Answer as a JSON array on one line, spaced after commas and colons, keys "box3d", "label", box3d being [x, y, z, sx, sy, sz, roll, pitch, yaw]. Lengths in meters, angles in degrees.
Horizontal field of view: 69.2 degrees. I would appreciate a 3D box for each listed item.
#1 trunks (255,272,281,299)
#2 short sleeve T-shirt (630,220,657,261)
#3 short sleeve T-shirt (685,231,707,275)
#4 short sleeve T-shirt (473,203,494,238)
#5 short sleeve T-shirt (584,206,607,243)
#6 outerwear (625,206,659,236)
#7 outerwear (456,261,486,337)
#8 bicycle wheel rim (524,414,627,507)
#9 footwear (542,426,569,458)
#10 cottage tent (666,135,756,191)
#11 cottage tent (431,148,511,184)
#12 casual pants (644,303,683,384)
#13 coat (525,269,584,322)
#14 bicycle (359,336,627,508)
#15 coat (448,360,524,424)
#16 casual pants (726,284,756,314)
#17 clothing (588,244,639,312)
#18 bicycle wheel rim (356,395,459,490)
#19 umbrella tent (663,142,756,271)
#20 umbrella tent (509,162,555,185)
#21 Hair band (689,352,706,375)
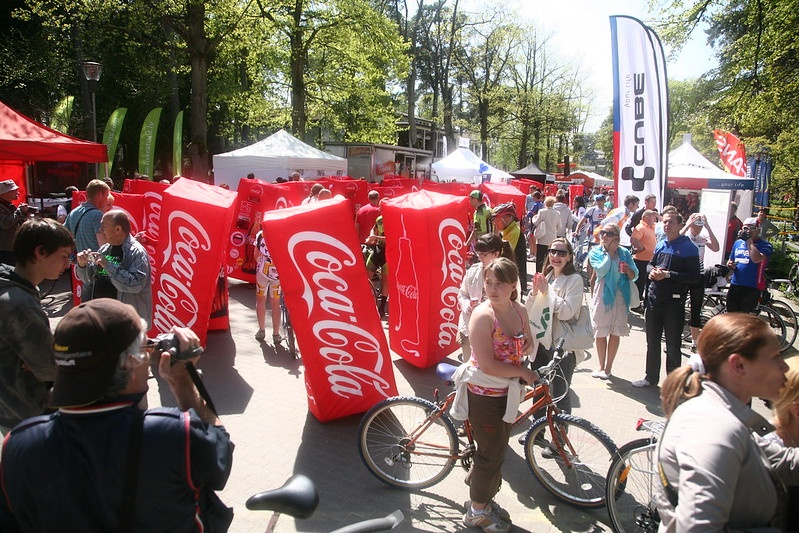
[{"box3d": [-2.023, 0.287, 9.051, 0.376, 0.582, 0.214, 5, 0, -18], "label": "trunks"}, {"box3d": [4.273, -0.432, 10.148, 0.304, 0.559, 0.558, 11, 31, 31], "label": "short sleeve T-shirt"}, {"box3d": [4.622, -0.227, 9.079, 0.381, 0.790, 0.767, 1, 6, 33], "label": "short sleeve T-shirt"}, {"box3d": [1.821, -0.923, 12.644, 0.264, 0.496, 0.498, -2, -3, -24], "label": "short sleeve T-shirt"}, {"box3d": [5.405, -1.191, 16.051, 0.776, 1.060, 0.376, -10, 21, -23], "label": "short sleeve T-shirt"}, {"box3d": [4.585, -0.922, 11.228, 0.427, 0.588, 0.208, 19, 13, -17], "label": "outerwear"}, {"box3d": [0.933, 0.228, 7.403, 0.260, 0.742, 0.256, 21, 51, 31], "label": "outerwear"}, {"box3d": [1.777, 2.001, 5.966, 1.100, 0.178, 1.158, 13, 31, -14], "label": "bicycle wheel rim"}, {"box3d": [1.581, 1.763, 5.848, 0.177, 0.419, 0.256, 0, 8, -17], "label": "footwear"}, {"box3d": [9.113, -2.795, 17.429, 2.739, 1.679, 2.888, 2, 6, 27], "label": "cottage tent"}, {"box3d": [2.648, -4.256, 25.415, 2.872, 1.153, 2.590, -2, 7, -23], "label": "cottage tent"}, {"box3d": [3.653, 1.043, 8.072, 0.538, 1.386, 0.394, 5, 1, 43], "label": "casual pants"}, {"box3d": [2.061, 0.372, 7.250, 0.451, 0.690, 0.838, 11, -4, -4], "label": "coat"}, {"box3d": [1.037, 1.597, 6.436, 2.585, 1.722, 1.344, 2, 10, 12], "label": "bicycle"}, {"box3d": [0.850, 1.145, 5.461, 0.583, 0.633, 0.512, 1, 14, -1], "label": "coat"}, {"box3d": [5.566, 0.518, 9.434, 0.309, 0.566, 0.368, 11, -11, -31], "label": "casual pants"}, {"box3d": [3.082, 0.263, 8.209, 0.588, 1.438, 0.424, -3, 18, 23], "label": "clothing"}, {"box3d": [0.102, 1.849, 6.007, 0.950, 1.039, 0.173, 2, 6, 16], "label": "bicycle wheel rim"}, {"box3d": [8.681, -1.893, 17.652, 2.763, 3.767, 2.888, 0, 2, -6], "label": "umbrella tent"}, {"box3d": [8.430, -5.836, 37.529, 2.411, 1.232, 2.513, 3, 12, -10], "label": "umbrella tent"}, {"box3d": [2.095, 0.680, 4.084, 0.055, 0.120, 0.091, -9, 17, -7], "label": "Hair band"}]
